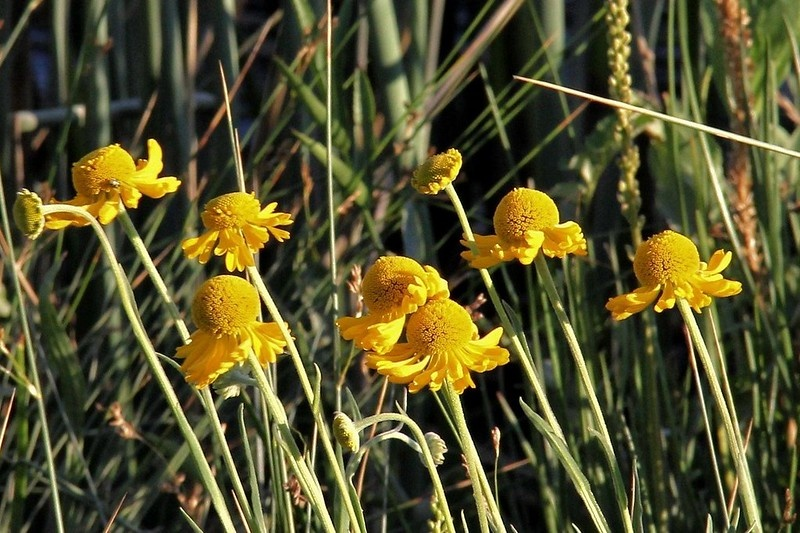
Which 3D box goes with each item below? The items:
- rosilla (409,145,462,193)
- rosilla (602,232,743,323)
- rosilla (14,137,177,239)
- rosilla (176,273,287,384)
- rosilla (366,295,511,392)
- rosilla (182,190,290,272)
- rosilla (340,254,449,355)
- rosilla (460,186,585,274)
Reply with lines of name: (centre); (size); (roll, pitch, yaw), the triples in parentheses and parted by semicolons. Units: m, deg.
rosilla: (0.059, -0.164, 1.987); (0.079, 0.100, 0.085); (3, -14, -2)
rosilla: (0.446, 0.024, 1.958); (0.210, 0.157, 0.138); (-1, -15, 12)
rosilla: (-0.494, -0.118, 1.942); (0.175, 0.085, 0.200); (-28, 21, 5)
rosilla: (-0.283, 0.086, 1.999); (0.206, 0.161, 0.226); (-4, 11, -28)
rosilla: (0.079, 0.111, 1.965); (0.236, 0.141, 0.266); (-2, 16, 16)
rosilla: (-0.263, -0.050, 1.970); (0.177, 0.145, 0.100); (1, -14, 8)
rosilla: (-0.041, 0.047, 1.941); (0.156, 0.076, 0.176); (15, 35, 37)
rosilla: (0.198, -0.076, 1.987); (0.183, 0.126, 0.224); (-8, 6, 8)
